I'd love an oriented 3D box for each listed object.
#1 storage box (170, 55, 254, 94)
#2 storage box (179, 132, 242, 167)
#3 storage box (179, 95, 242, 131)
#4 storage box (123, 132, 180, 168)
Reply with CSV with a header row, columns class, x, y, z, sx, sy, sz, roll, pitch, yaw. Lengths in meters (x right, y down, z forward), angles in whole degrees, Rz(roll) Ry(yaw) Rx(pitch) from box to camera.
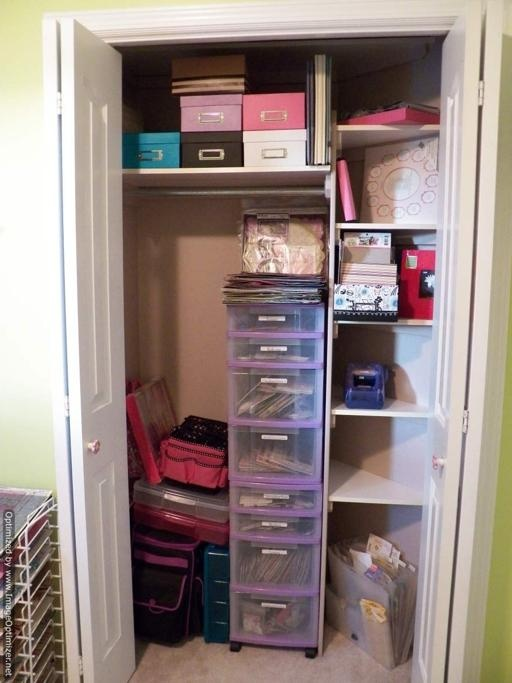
class,x,y,z,sx,sy,sz,roll,pitch,yaw
storage box,-0.160,-0.876,2.031,0.253,0.121,0.059,1,10,7
storage box,-0.141,-0.632,2.008,0.131,0.074,0.138,4,14,11
storage box,-0.146,-0.746,2.005,0.123,0.091,0.177,4,17,9
storage box,-0.347,-0.633,2.035,0.169,0.094,0.129,3,16,9
